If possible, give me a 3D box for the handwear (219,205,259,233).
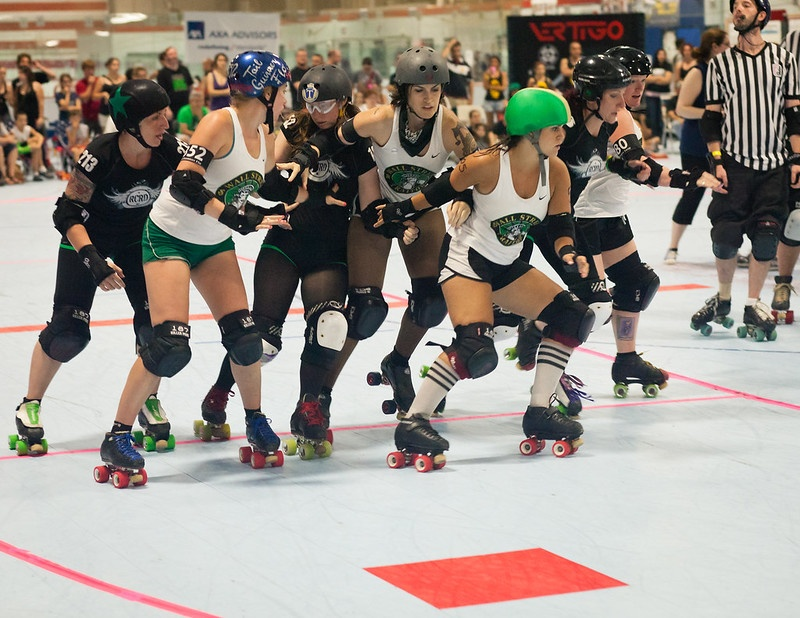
[{"bbox_3d":[-0.746,-0.397,3.783,0.160,0.066,0.122,24,14,4],"label":"handwear"}]

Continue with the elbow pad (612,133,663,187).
[{"bbox_3d":[1.335,-0.837,4.807,0.343,0.110,0.218,-7,-23,8],"label":"elbow pad"}]

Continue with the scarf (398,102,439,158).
[{"bbox_3d":[0.060,-0.913,4.247,0.182,0.228,0.087,6,13,14],"label":"scarf"}]

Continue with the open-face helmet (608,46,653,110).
[{"bbox_3d":[1.348,-1.406,4.953,0.297,0.291,0.224,-4,33,-1],"label":"open-face helmet"}]

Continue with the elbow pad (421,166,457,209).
[{"bbox_3d":[0.188,-0.586,4.142,0.177,0.064,0.172,-28,21,38],"label":"elbow pad"}]

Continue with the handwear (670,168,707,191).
[{"bbox_3d":[1.662,-0.758,4.909,0.203,0.113,0.077,0,-11,-12],"label":"handwear"}]

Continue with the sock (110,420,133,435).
[{"bbox_3d":[-1.287,0.543,3.854,0.061,0.062,0.072,-1,3,-2],"label":"sock"}]

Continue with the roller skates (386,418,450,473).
[{"bbox_3d":[0.085,0.646,4.087,0.319,0.257,0.204,5,8,33],"label":"roller skates"}]

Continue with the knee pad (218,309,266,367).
[{"bbox_3d":[-0.786,0.119,4.019,0.245,0.168,0.179,22,29,23],"label":"knee pad"}]

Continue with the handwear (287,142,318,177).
[{"bbox_3d":[-0.492,-0.781,4.334,0.126,0.095,0.202,-7,30,29],"label":"handwear"}]

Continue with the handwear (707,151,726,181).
[{"bbox_3d":[2.423,-1.101,6.448,0.111,0.261,0.096,-17,3,-21],"label":"handwear"}]

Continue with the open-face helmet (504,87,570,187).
[{"bbox_3d":[0.649,-0.903,4.018,0.294,0.312,0.213,1,12,6],"label":"open-face helmet"}]

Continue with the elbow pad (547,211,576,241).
[{"bbox_3d":[0.804,-0.414,4.215,0.132,0.131,0.133,-5,4,-6],"label":"elbow pad"}]

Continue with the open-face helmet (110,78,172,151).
[{"bbox_3d":[-1.237,-0.922,3.953,0.275,0.312,0.240,5,30,11],"label":"open-face helmet"}]

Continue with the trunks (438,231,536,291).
[{"bbox_3d":[0.415,-0.234,4.174,0.360,0.195,0.285,7,-1,38],"label":"trunks"}]

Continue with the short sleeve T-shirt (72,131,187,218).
[{"bbox_3d":[-1.293,-0.636,4.014,0.484,0.360,0.183,-4,46,-38],"label":"short sleeve T-shirt"}]

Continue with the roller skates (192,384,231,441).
[{"bbox_3d":[-0.995,0.576,4.463,0.135,0.257,0.357,5,1,-16],"label":"roller skates"}]

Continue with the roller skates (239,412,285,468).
[{"bbox_3d":[-0.673,0.650,4.042,0.155,0.195,0.328,-3,4,-25],"label":"roller skates"}]

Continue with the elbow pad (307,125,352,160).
[{"bbox_3d":[-0.386,-0.882,4.429,0.215,0.087,0.171,-20,22,-12],"label":"elbow pad"}]

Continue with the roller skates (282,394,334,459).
[{"bbox_3d":[-0.458,0.609,4.306,0.267,0.283,0.506,-3,1,-14],"label":"roller skates"}]

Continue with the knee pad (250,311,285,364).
[{"bbox_3d":[-0.676,0.156,4.386,0.195,0.211,0.242,11,5,-37],"label":"knee pad"}]

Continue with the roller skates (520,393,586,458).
[{"bbox_3d":[0.776,0.608,4.309,0.330,0.312,0.211,1,8,16],"label":"roller skates"}]

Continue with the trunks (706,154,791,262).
[{"bbox_3d":[2.680,-0.797,6.429,0.642,0.923,0.534,10,-22,0],"label":"trunks"}]

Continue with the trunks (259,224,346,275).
[{"bbox_3d":[-0.500,-0.335,4.599,0.472,0.243,0.405,3,5,-29],"label":"trunks"}]

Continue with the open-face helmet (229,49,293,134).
[{"bbox_3d":[-0.691,-1.057,4.068,0.310,0.373,0.271,-21,34,-36],"label":"open-face helmet"}]

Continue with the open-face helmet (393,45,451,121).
[{"bbox_3d":[0.103,-1.188,4.211,0.241,0.224,0.253,-2,8,-10],"label":"open-face helmet"}]

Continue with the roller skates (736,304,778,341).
[{"bbox_3d":[2.704,0.086,6.348,0.184,0.285,0.300,-1,9,-20],"label":"roller skates"}]

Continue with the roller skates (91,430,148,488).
[{"bbox_3d":[-1.275,0.683,3.850,0.170,0.239,0.319,2,0,-43],"label":"roller skates"}]

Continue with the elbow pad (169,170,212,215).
[{"bbox_3d":[-0.943,-0.538,3.755,0.217,0.122,0.158,30,10,-35],"label":"elbow pad"}]

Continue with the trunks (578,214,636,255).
[{"bbox_3d":[1.227,-0.446,5.052,0.291,0.231,0.146,-13,7,-27],"label":"trunks"}]

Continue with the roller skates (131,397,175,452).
[{"bbox_3d":[-1.343,0.619,4.453,0.147,0.236,0.386,0,2,-20],"label":"roller skates"}]

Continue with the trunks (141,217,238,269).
[{"bbox_3d":[-1.037,-0.304,4.038,0.425,0.284,0.237,3,37,-40],"label":"trunks"}]

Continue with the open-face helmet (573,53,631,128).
[{"bbox_3d":[1.108,-1.175,4.500,0.357,0.390,0.315,0,22,27],"label":"open-face helmet"}]
